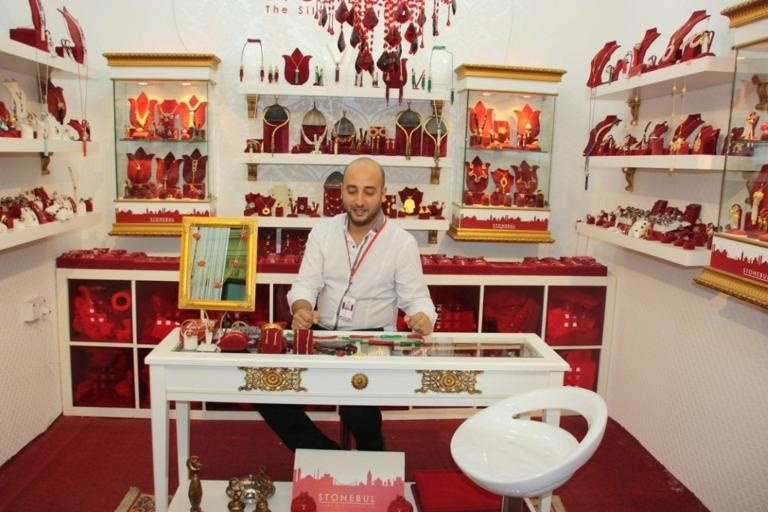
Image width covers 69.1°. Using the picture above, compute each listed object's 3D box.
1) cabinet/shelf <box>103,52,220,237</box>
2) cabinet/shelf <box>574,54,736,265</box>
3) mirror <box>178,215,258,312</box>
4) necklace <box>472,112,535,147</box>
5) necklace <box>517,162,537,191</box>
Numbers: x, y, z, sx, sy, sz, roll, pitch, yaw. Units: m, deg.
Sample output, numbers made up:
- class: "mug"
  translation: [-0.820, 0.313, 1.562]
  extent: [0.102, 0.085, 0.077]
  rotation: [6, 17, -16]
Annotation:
- class: "cabinet/shelf"
  translation: [-1.932, -0.921, 4.836]
  extent: [0.872, 1.435, 0.476]
  rotation: [-3, 22, -30]
- class: "cabinet/shelf"
  translation: [1.994, -0.692, 4.047]
  extent: [0.506, 1.374, 1.564]
  rotation: [-2, 12, -9]
- class: "mirror"
  translation: [-1.048, 0.052, 3.514]
  extent: [0.586, 0.704, 0.098]
  rotation: [2, 0, -2]
- class: "necklace"
  translation: [1.031, -1.072, 4.791]
  extent: [0.602, 0.311, 0.166]
  rotation: [1, 11, 5]
- class: "necklace"
  translation: [1.239, -0.703, 4.873]
  extent: [0.214, 0.246, 0.039]
  rotation: [-4, 8, -3]
